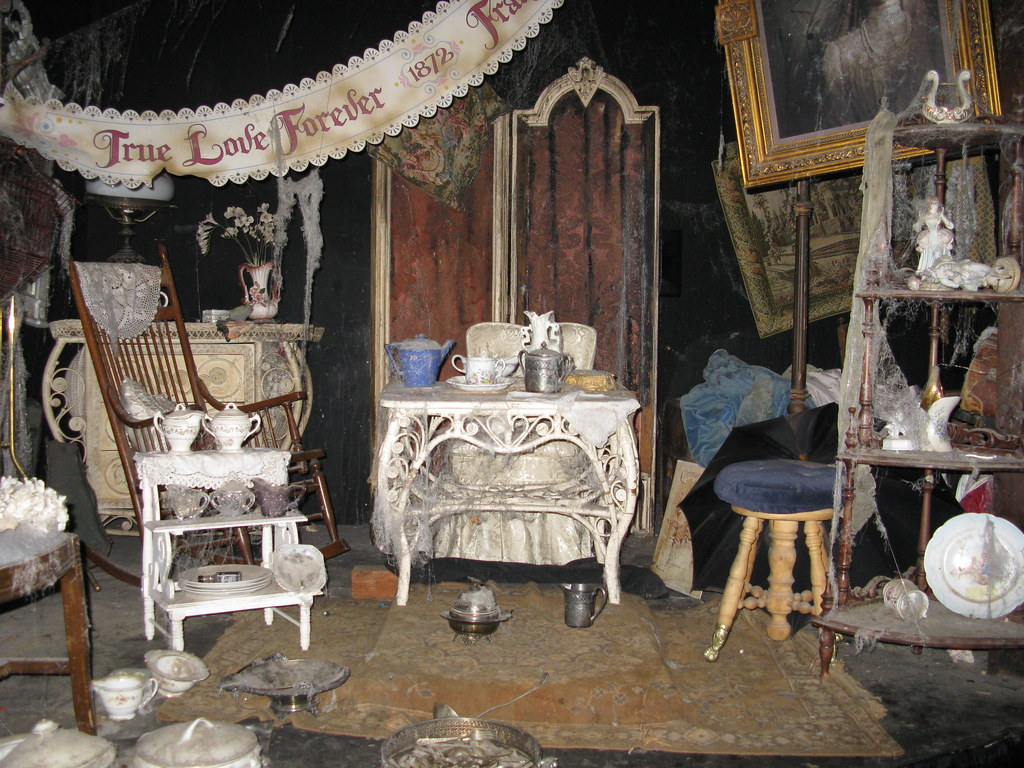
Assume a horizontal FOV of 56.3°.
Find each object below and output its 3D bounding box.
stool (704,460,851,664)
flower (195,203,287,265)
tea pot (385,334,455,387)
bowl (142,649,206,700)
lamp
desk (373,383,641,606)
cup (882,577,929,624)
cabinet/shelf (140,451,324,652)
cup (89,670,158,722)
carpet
[{"bbox_3d":[1.232,0.785,4.503,0.760,1.080,0.751,0,-2,42],"label":"stool"},{"bbox_3d":[-1.834,-1.012,6.506,0.585,0.343,0.433,-3,20,-25],"label":"flower"},{"bbox_3d":[-0.472,-0.109,4.824,0.363,0.278,0.240,-1,-2,-2],"label":"tea pot"},{"bbox_3d":[-1.404,1.194,3.952,0.251,0.123,0.201,1,12,4],"label":"bowl"},{"bbox_3d":[-2.399,-1.061,6.029,0.535,0.535,0.599,-4,12,-19],"label":"lamp"},{"bbox_3d":[-0.007,0.396,4.955,1.537,1.257,1.040,1,1,1],"label":"desk"},{"bbox_3d":[1.611,0.879,3.926,0.187,0.120,0.188,0,12,0],"label":"cup"},{"bbox_3d":[-1.433,0.656,4.502,0.892,1.167,0.850,1,-5,-28],"label":"cabinet/shelf"},{"bbox_3d":[-1.534,1.227,3.756,0.151,0.152,0.215,3,7,-12],"label":"cup"},{"bbox_3d":[0.161,1.233,4.146,2.735,0.077,1.285,2,12,9],"label":"carpet"}]
